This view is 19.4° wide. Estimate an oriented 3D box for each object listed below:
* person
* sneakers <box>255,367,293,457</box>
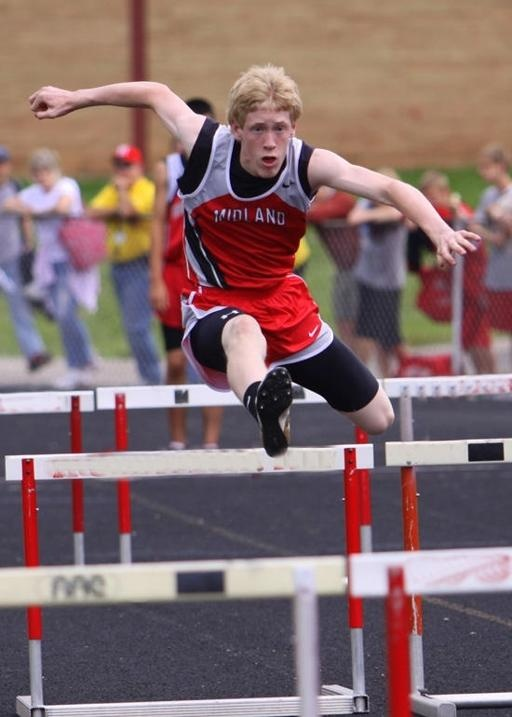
[{"bbox_3d":[0.025,-0.306,5.317,1.047,1.160,1.627,0,-5,-19],"label":"person"},{"bbox_3d":[0.052,0.155,4.528,0.088,0.277,0.116,1,7,-2],"label":"sneakers"}]
